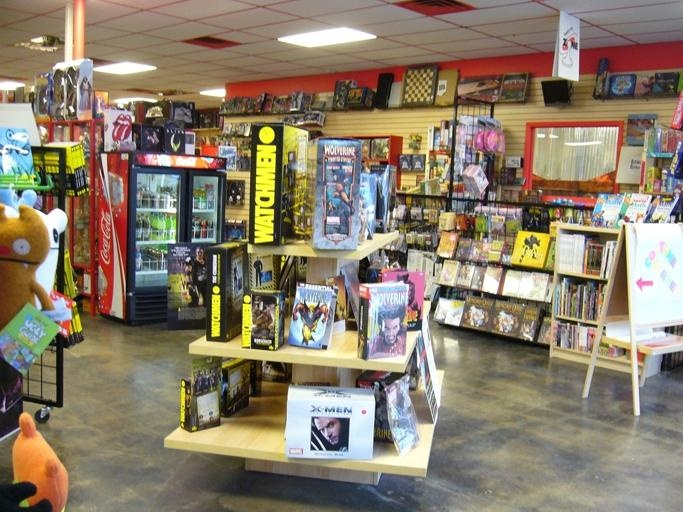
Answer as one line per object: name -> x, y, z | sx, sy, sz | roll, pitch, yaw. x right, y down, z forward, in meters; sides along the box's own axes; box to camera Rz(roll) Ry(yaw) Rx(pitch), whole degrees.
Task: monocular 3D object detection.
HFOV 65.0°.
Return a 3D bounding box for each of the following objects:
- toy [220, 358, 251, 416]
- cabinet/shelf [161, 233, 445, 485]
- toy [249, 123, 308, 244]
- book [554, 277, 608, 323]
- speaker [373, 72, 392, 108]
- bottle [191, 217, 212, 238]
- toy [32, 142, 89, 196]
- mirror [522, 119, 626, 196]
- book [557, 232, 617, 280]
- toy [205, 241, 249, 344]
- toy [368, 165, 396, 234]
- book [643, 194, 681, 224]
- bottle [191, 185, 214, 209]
toy -> -0.730, 0.864, 3.524 | 0.126, 0.339, 0.370 | 3, 0, 12
cabinet/shelf -> -0.084, 0.566, 3.733 | 1.600, 1.471, 1.688 | 2, 5, 14
toy -> -0.364, -0.401, 3.020 | 0.203, 0.664, 0.619 | 2, 8, 13
book -> 2.782, 0.468, 6.289 | 0.400, 0.609, 0.611 | 4, 2, -24
speaker -> 0.806, -3.283, 10.529 | 0.177, 0.630, 0.449 | 7, 6, -12
bottle -> -2.014, -0.409, 7.711 | 0.228, 0.327, 0.323 | 4, 4, 30
toy -> -2.155, -0.674, 4.110 | 0.310, 0.410, 0.342 | 10, 11, 41
mirror -> 3.878, -1.692, 8.830 | 1.450, 1.257, 0.070 | 6, 12, 29
book -> 2.760, -0.027, 6.159 | 0.624, 0.655, 0.455 | 9, 11, 44
toy -> -0.665, 0.199, 3.239 | 0.144, 0.567, 0.353 | 7, 9, 30
toy -> 0.259, -0.386, 3.539 | 0.248, 0.456, 0.458 | 1, 11, 6
book -> 3.400, -0.511, 5.662 | 0.329, 0.279, 0.477 | 8, 10, 32
bottle -> -2.010, -0.863, 7.648 | 0.094, 0.281, 0.296 | 7, -14, 26
